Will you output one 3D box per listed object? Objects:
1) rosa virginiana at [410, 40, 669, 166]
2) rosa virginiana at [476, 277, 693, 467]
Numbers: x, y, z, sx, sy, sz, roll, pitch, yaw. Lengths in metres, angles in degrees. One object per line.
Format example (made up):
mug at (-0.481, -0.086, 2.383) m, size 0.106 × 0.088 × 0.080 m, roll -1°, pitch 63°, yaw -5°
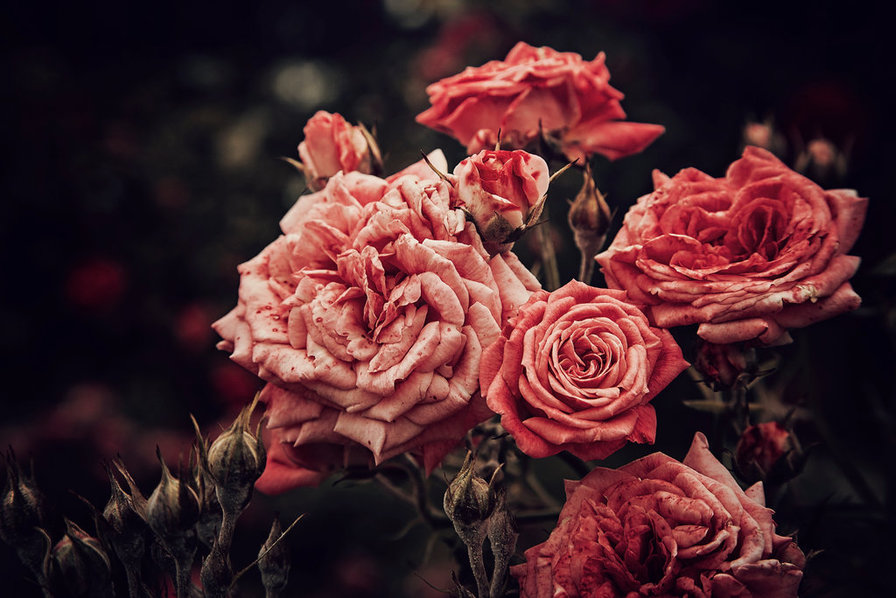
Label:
rosa virginiana at (0.120, -0.270, 1.233) m, size 0.187 × 0.119 × 0.188 m, roll -6°, pitch 33°, yaw -22°
rosa virginiana at (0.125, 0.101, 1.183) m, size 0.192 × 0.206 × 0.102 m, roll 3°, pitch -46°, yaw -12°
